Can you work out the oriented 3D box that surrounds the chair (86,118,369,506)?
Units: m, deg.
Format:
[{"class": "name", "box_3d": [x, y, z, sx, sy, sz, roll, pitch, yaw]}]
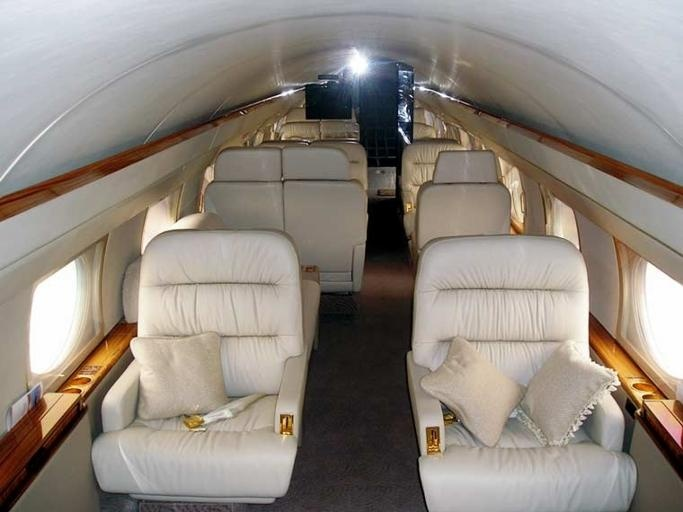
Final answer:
[{"class": "chair", "box_3d": [-0.525, 0.346, 3.553, 1.511, 1.450, 2.556, 1, 34, 3]}]
